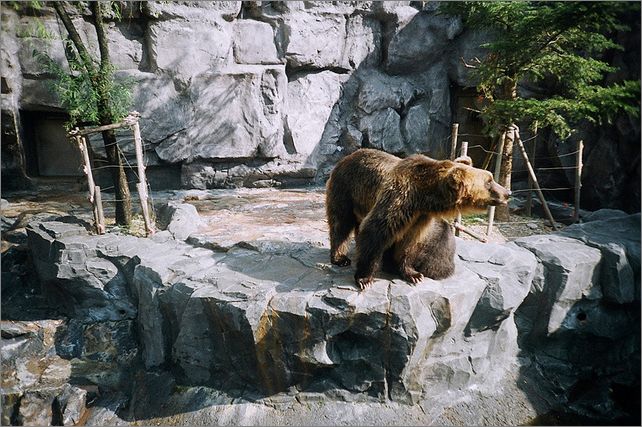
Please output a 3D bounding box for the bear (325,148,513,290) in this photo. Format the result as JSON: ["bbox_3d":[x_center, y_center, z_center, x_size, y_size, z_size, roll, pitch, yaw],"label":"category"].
[{"bbox_3d":[1.335,0.100,8.797,3.040,2.360,1.500,18,17,39],"label":"bear"}]
